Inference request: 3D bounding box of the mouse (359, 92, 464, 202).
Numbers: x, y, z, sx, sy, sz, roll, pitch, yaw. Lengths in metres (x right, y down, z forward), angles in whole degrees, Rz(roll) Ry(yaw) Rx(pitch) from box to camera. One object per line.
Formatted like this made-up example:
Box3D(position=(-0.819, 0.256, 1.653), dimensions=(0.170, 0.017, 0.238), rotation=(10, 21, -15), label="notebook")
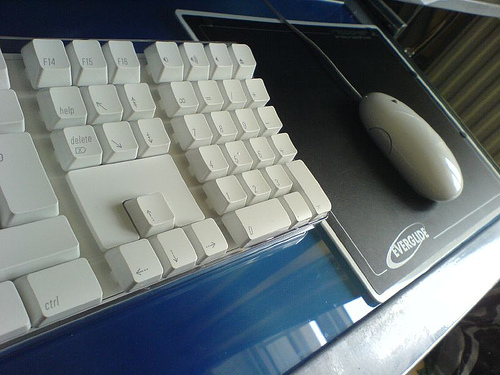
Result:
Box3D(position=(0.312, -0.081, 0.803), dimensions=(0.127, 0.265, 0.085), rotation=(-28, -14, -27), label="mouse")
